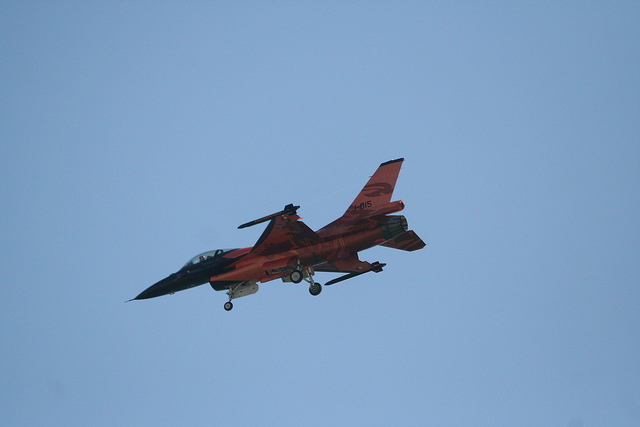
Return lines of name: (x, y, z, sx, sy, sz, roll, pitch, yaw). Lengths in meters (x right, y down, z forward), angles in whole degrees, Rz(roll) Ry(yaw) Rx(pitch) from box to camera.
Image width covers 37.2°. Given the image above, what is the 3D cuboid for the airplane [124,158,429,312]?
airplane: (-2.652, 1.261, 45.703, 14.843, 9.872, 5.893, -12, -76, -7)
